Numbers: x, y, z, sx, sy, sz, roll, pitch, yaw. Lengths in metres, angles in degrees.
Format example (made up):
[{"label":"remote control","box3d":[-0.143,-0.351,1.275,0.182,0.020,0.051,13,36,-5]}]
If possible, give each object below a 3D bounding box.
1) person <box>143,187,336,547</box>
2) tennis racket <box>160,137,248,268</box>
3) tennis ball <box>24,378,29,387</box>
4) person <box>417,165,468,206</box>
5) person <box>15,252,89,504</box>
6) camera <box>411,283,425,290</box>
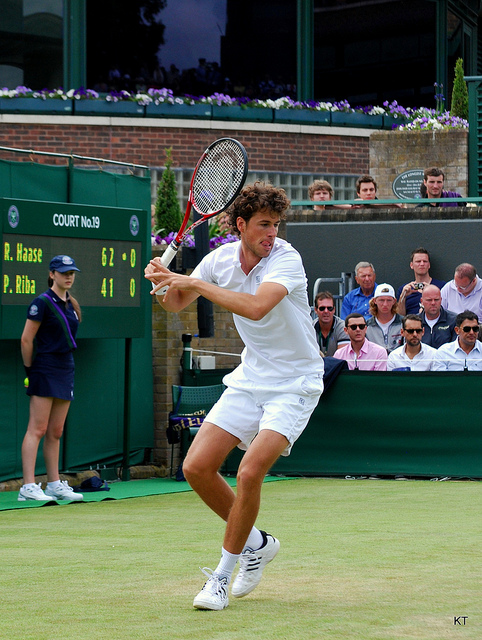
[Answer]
[{"label":"person","box3d":[-0.006,0.199,5.556,0.792,1.675,0.603,-1,-2,4]},{"label":"tennis racket","box3d":[-0.277,-0.583,6.507,0.105,0.383,1.343,-5,-22,-28]},{"label":"tennis ball","box3d":[-1.653,0.474,8.898,0.061,0.074,0.060,-1,-1,0]},{"label":"person","box3d":[2.540,-1.713,14.560,0.896,0.445,0.359,-2,-8,15]},{"label":"person","box3d":[-1.523,0.428,9.414,0.558,2.020,1.278,0,-2,-7]},{"label":"camera","box3d":[1.798,-0.358,11.820,0.155,0.069,0.080,0,-2,-18]}]
